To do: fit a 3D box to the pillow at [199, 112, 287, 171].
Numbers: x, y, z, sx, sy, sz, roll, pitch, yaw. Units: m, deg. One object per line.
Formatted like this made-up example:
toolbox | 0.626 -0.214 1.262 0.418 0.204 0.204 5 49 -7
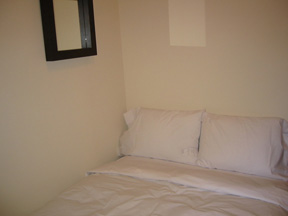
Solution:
pillow | 1.030 0.373 2.443 0.598 0.556 0.147 4 -11 22
